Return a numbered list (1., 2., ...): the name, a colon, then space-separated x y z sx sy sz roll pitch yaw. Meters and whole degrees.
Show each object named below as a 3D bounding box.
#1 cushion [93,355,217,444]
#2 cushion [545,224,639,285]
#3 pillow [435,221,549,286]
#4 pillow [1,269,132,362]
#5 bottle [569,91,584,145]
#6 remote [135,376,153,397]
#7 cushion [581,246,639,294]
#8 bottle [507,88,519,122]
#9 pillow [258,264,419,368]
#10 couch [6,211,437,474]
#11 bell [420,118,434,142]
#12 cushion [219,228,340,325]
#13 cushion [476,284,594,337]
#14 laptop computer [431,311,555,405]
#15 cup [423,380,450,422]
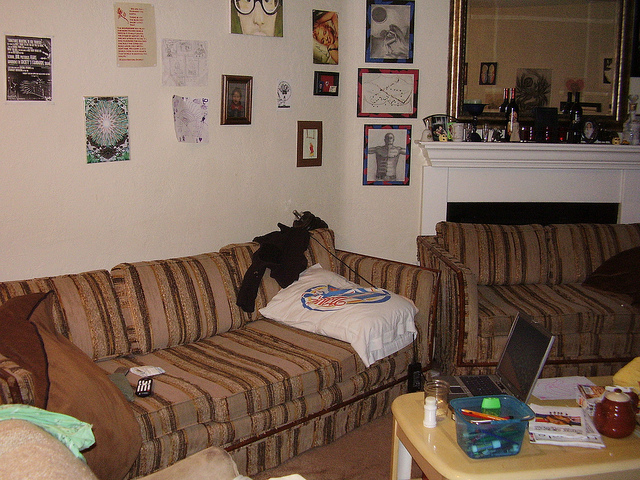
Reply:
1. cushion: -0.671 0.731 2.202 0.380 0.098 0.392 -10 30 -44
2. cushion: 1.987 0.138 3.657 0.734 0.440 0.179 -3 -6 -12
3. pillow: 1.342 0.041 3.627 0.717 0.559 0.180 -3 23 22
4. pillow: -1.178 0.366 2.463 0.508 0.485 0.122 -5 -17 -44
5. bottle: 2.169 -1.022 4.104 0.097 0.427 0.327 6 14 27
6. remote: -0.813 0.674 2.258 0.077 0.041 0.135 -4 13 -18
7. cushion: 2.124 0.240 3.475 0.303 0.070 0.345 -7 49 42
8. bottle: 1.616 -1.126 4.064 0.088 0.266 0.178 5 13 23
9. pillow: 0.112 0.442 3.058 0.772 0.261 1.024 -18 21 -34
10. couch: -0.394 0.582 2.730 2.020 1.045 1.074 -11 16 -41
11. bell: 0.890 -0.908 4.034 0.098 0.190 0.247 1 12 6
12. cushion: -0.226 0.238 3.147 0.946 0.542 0.222 -23 7 -35
13. cushion: 1.408 0.443 3.288 0.412 0.100 0.418 0 17 9
14. laptop computer: 0.723 0.530 2.113 0.405 0.310 0.388 1 9 -5
15. cup: 0.470 0.654 1.989 0.117 0.140 0.123 0 0 0
